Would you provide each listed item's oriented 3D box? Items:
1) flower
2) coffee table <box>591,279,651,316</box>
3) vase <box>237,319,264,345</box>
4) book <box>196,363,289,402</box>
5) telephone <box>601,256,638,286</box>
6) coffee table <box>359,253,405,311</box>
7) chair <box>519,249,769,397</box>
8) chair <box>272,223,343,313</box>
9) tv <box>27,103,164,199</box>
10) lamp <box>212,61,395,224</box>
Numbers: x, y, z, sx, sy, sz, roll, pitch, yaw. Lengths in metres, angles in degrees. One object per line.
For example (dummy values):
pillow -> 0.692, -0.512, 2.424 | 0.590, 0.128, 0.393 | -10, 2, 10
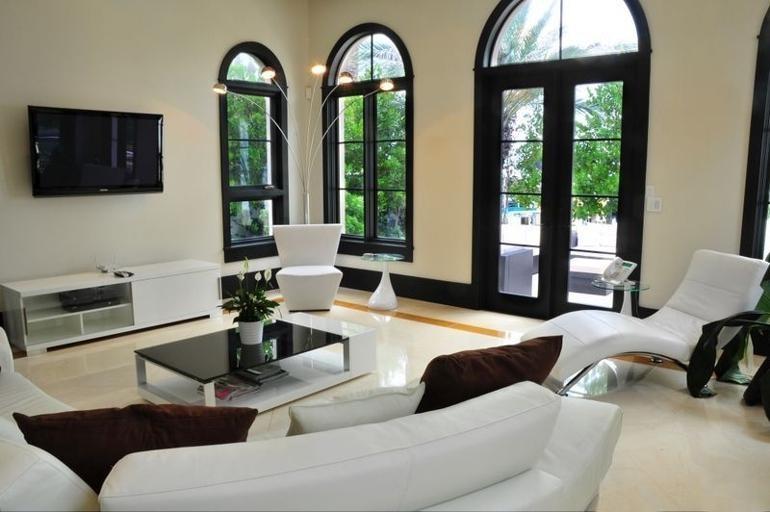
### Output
flower -> -1.498, 0.348, 5.647 | 0.678, 0.686, 0.668 | 4, 6, 15
coffee table -> 2.251, 0.463, 5.001 | 0.467, 0.320, 0.468 | 2, 12, 11
vase -> -1.076, 0.608, 4.258 | 0.196, 0.147, 0.181 | 1, 3, 6
book -> -1.057, 0.954, 4.039 | 0.346, 0.086, 0.313 | 5, 12, 37
telephone -> 2.220, 0.118, 5.008 | 0.287, 0.255, 0.254 | -6, 11, -31
coffee table -> -0.005, 0.318, 6.554 | 0.629, 0.642, 0.625 | 2, -4, -23
chair -> 2.183, 0.497, 4.260 | 1.781, 0.975, 0.665 | -3, 10, -18
chair -> -0.919, 0.114, 6.342 | 0.833, 0.987, 0.783 | -1, 4, -10
tv -> -3.101, -1.117, 5.507 | 1.099, 0.767, 0.114 | -4, 10, -43
lamp -> -0.988, -1.517, 6.998 | 2.070, 2.106, 0.896 | 0, 10, -1
